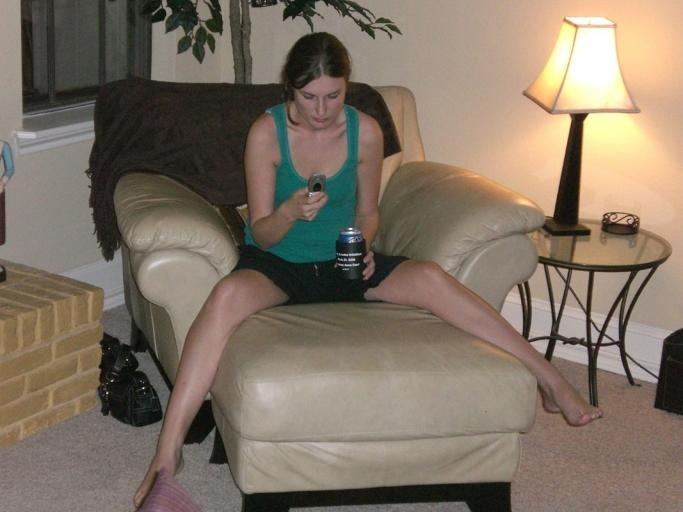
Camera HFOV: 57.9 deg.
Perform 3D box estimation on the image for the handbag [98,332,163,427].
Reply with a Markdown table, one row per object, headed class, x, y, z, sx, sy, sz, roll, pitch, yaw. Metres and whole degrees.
| class | x | y | z | sx | sy | sz | roll | pitch | yaw |
| --- | --- | --- | --- | --- | --- | --- | --- | --- | --- |
| handbag | -0.810 | 0.486 | 2.367 | 0.149 | 0.257 | 0.260 | -13 | 26 | -34 |
